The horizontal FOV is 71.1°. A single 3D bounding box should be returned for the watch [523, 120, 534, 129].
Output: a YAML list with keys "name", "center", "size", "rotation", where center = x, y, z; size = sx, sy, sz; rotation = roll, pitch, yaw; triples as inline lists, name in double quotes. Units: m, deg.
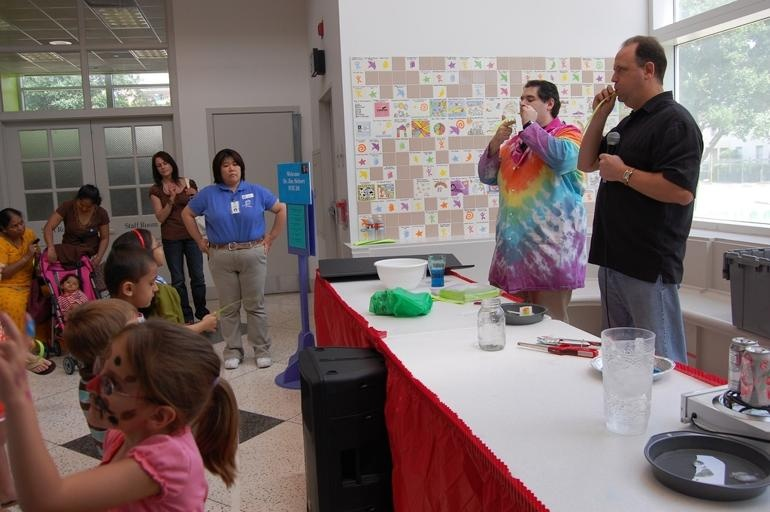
- name: "watch"
  center: [0.850, -0.769, 3.161]
  size: [0.061, 0.043, 0.078]
  rotation: [0, 12, 15]

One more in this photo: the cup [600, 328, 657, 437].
- name: "cup"
  center: [0.768, 0.385, 1.699]
  size: [0.153, 0.295, 0.184]
  rotation: [3, 13, 26]

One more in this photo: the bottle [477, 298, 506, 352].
- name: "bottle"
  center: [0.451, 0.281, 2.261]
  size: [0.122, 0.205, 0.120]
  rotation: [-3, 10, 1]

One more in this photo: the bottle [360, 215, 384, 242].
- name: "bottle"
  center: [-0.114, -0.255, 4.651]
  size: [0.203, 0.202, 0.083]
  rotation: [-3, 12, -2]

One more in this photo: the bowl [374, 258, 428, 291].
- name: "bowl"
  center: [0.101, 0.104, 3.043]
  size: [0.319, 0.143, 0.314]
  rotation: [-1, 8, 0]

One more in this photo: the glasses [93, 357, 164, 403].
- name: "glasses"
  center: [-0.769, 0.375, 1.581]
  size: [0.183, 0.054, 0.169]
  rotation: [-5, -13, -41]

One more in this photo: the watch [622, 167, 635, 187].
- name: "watch"
  center: [1.147, -0.377, 2.525]
  size: [0.066, 0.069, 0.043]
  rotation: [10, 11, -34]
